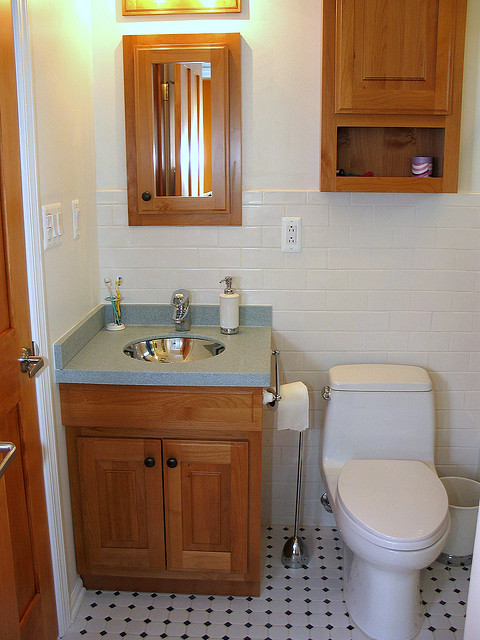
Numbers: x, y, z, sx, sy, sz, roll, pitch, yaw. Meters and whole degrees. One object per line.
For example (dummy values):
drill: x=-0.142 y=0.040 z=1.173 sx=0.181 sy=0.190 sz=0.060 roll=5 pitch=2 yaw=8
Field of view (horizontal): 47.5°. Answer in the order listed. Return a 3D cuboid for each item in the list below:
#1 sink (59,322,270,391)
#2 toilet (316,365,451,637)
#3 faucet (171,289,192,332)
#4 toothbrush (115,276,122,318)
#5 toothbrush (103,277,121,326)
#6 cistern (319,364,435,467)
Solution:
sink: x=-0.213 y=0.086 z=1.802 sx=0.617 sy=0.169 sz=0.545 roll=-2 pitch=15 yaw=4
toilet: x=0.462 y=0.588 z=1.803 sx=0.397 sy=0.706 sz=0.706 roll=-1 pitch=16 yaw=8
faucet: x=-0.194 y=-0.039 z=1.986 sx=0.063 sy=0.151 sz=0.110 roll=5 pitch=17 yaw=27
toothbrush: x=-0.443 y=-0.086 z=2.007 sx=0.022 sy=0.152 sz=0.014 roll=-2 pitch=3 yaw=-17
toothbrush: x=-0.472 y=-0.067 z=2.017 sx=0.043 sy=0.167 sz=0.138 roll=-7 pitch=16 yaw=-13
cistern: x=0.513 y=0.336 z=2.027 sx=0.410 sy=0.346 sz=0.342 roll=-2 pitch=17 yaw=7
